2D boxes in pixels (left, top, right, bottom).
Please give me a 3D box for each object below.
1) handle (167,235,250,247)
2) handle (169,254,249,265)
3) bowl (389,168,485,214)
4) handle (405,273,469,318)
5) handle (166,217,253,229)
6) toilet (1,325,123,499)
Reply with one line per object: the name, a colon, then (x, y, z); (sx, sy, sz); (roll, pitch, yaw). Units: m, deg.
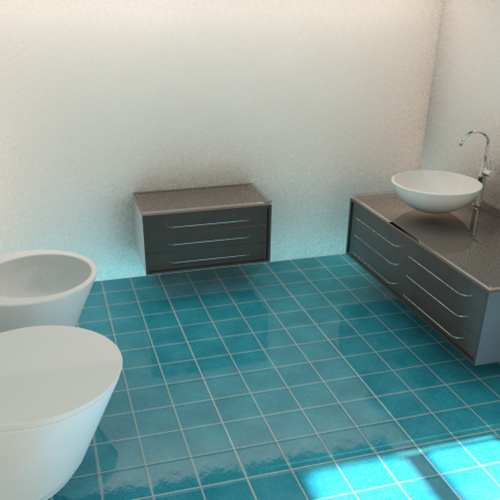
handle: (-0.269, -0.060, 3.061); (0.533, 0.033, 0.011); (-6, 33, -16)
handle: (-0.302, 0.058, 3.099); (0.536, 0.054, 0.018); (-4, 32, -10)
bowl: (1.189, -0.380, 2.913); (0.470, 0.134, 0.409); (-5, 24, -8)
handle: (0.996, 0.236, 2.454); (0.060, 0.015, 0.401); (-31, 28, -10)
handle: (-0.289, -0.179, 3.001); (0.587, 0.018, 0.056); (-4, 20, -17)
toilet: (-0.571, 0.579, 1.718); (0.584, 0.376, 0.566); (0, 27, -11)
